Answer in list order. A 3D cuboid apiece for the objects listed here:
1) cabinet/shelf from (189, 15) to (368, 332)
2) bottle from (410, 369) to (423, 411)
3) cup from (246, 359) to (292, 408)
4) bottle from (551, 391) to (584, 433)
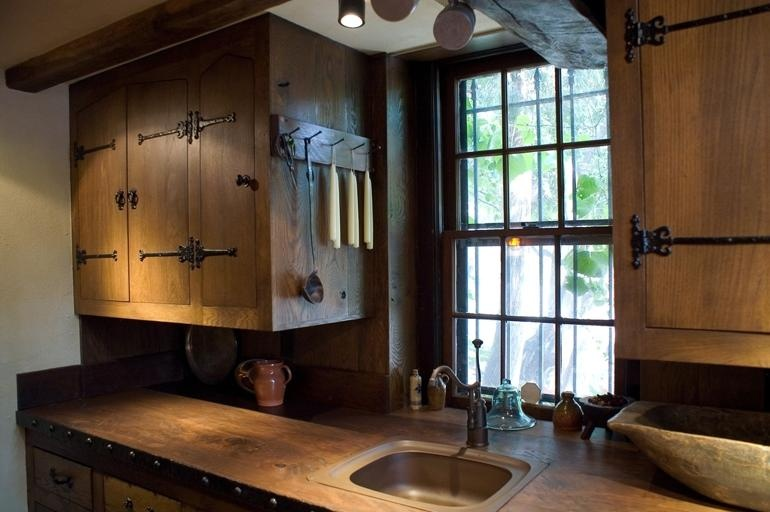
[{"bbox_3d":[-0.474,-0.370,2.666,0.891,1.411,0.511,-5,9,-20],"label":"cabinet/shelf"},{"bbox_3d":[0.158,0.679,2.895,0.072,0.186,0.111,-2,8,2],"label":"bottle"},{"bbox_3d":[-0.609,0.680,3.008,0.238,0.228,0.153,-4,9,-13],"label":"cup"},{"bbox_3d":[0.827,0.719,2.633,0.154,0.176,0.158,0,0,-3],"label":"bottle"}]
